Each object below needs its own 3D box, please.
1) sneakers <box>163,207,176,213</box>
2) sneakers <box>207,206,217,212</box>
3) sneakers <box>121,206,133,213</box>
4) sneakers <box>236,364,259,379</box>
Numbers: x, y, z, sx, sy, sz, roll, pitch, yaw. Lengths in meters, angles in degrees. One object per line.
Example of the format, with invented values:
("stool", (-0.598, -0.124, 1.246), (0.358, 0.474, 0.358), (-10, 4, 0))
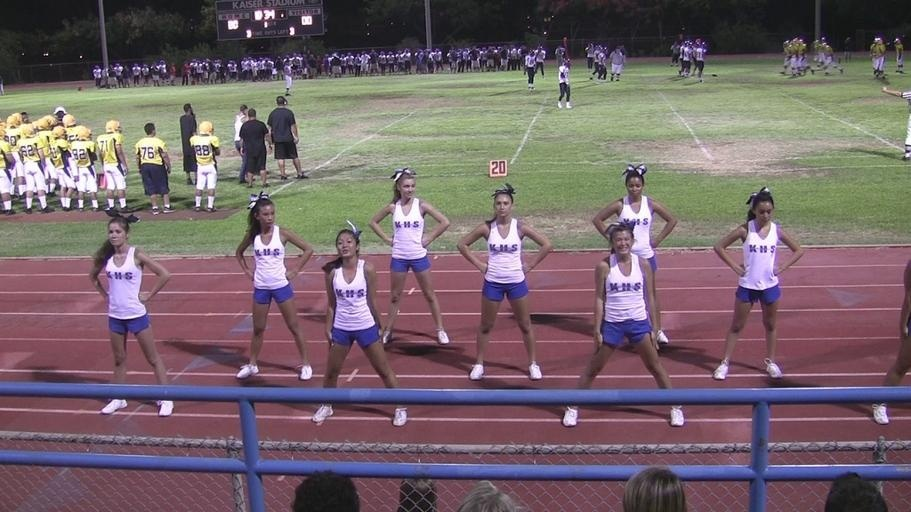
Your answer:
("sneakers", (-9.172, -1.479, 33.624), (0.361, 0.138, 0.130), (-3, 10, -14))
("sneakers", (-7.764, -1.497, 33.537), (0.199, 0.162, 0.369), (-2, 10, 9))
("sneakers", (-10.591, -1.502, 33.788), (0.461, 0.179, 0.163), (-6, 24, -36))
("sneakers", (-4.799, 2.628, 24.266), (0.600, 0.217, 0.237), (-14, -15, 0))
